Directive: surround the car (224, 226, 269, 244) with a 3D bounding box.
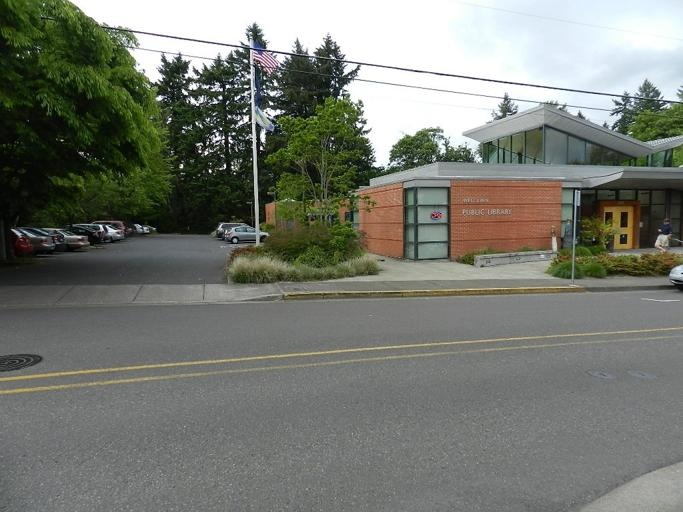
[{"bbox_3d":[-7.474,-1.496,42.267,1.914,1.131,2.119,-4,14,-20],"label":"car"}]

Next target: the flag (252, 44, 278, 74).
[{"bbox_3d":[-2.792,-7.332,20.698,0.919,0.925,1.856,-1,13,-7],"label":"flag"}]

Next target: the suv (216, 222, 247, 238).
[{"bbox_3d":[-8.816,-2.019,47.014,2.758,1.198,1.524,-7,8,-27],"label":"suv"}]
